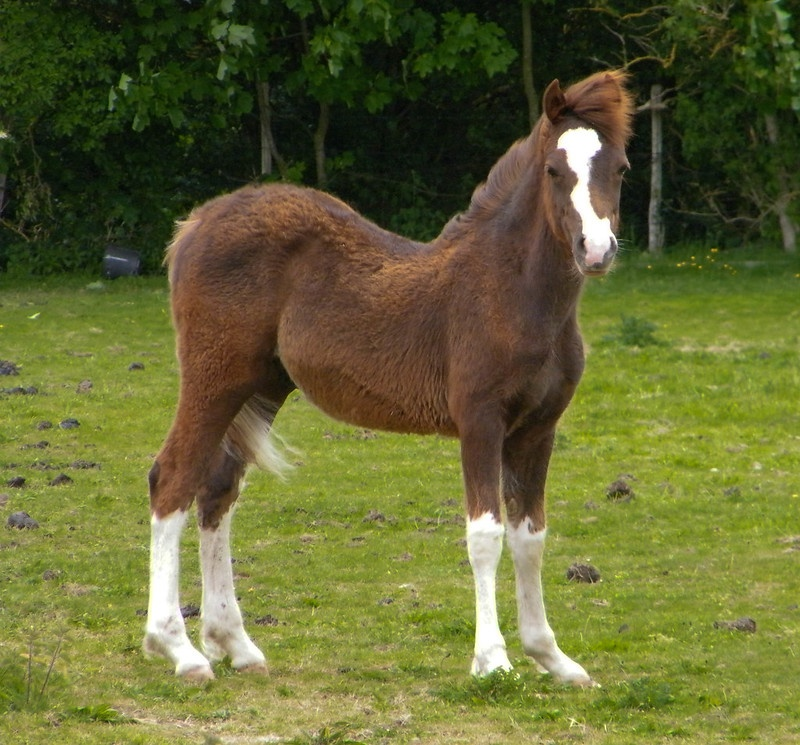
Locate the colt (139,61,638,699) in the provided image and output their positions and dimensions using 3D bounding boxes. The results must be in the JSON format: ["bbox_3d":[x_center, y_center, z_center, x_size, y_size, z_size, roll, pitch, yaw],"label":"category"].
[{"bbox_3d":[0.020,0.054,15.316,5.506,5.605,2.025,1,0,27],"label":"colt"}]
